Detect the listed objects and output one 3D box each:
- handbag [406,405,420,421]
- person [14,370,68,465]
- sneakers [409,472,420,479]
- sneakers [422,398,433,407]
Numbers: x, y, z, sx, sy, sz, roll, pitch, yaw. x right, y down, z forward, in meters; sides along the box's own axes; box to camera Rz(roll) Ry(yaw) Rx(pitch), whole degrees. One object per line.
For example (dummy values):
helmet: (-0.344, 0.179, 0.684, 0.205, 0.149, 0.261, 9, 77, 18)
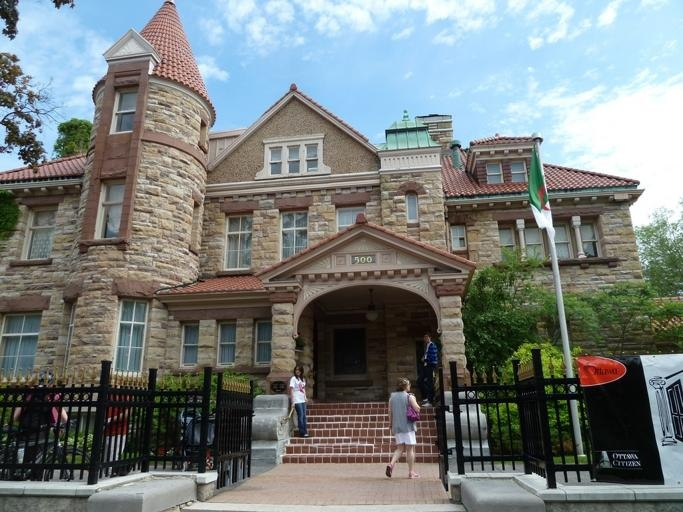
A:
handbag: (1.657, 3.533, 10.457, 0.204, 0.381, 0.396, -7, -15, 31)
person: (-5.369, 2.917, 8.448, 0.611, 0.798, 1.486, -4, -9, -14)
sneakers: (1.599, 4.847, 10.287, 0.272, 0.097, 0.104, 2, -11, -13)
sneakers: (2.661, 4.564, 14.518, 0.175, 0.168, 0.448, 2, -8, 0)
